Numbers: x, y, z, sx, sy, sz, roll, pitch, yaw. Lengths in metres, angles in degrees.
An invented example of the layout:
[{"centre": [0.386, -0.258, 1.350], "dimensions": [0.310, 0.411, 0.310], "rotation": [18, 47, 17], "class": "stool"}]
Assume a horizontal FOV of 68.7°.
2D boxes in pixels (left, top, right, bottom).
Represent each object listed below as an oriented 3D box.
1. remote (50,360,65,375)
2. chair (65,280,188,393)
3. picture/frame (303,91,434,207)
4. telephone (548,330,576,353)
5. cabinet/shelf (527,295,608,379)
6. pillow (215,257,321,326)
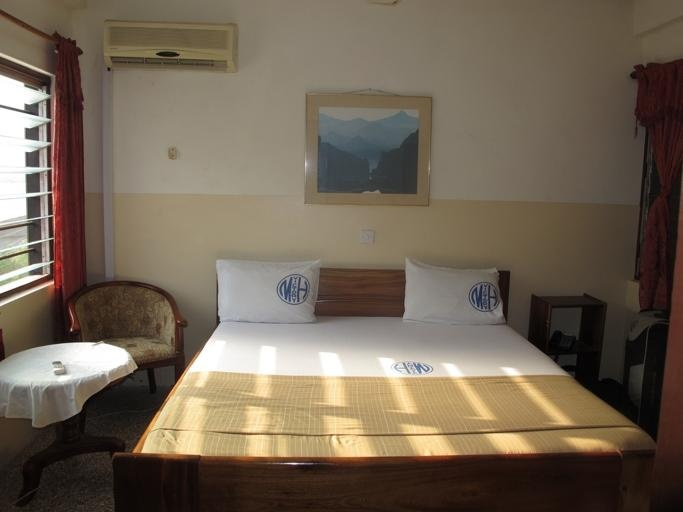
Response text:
[{"centre": [-1.651, 0.658, 2.891], "dimensions": [0.073, 0.073, 0.071], "rotation": [-1, 9, -27], "class": "remote"}, {"centre": [-1.684, 0.707, 3.884], "dimensions": [0.755, 0.980, 0.684], "rotation": [-3, 5, -35], "class": "chair"}, {"centre": [0.189, -0.932, 4.180], "dimensions": [0.829, 1.085, 0.039], "rotation": [3, 6, -8], "class": "picture/frame"}, {"centre": [1.837, 0.732, 4.174], "dimensions": [0.147, 0.146, 0.077], "rotation": [6, -15, 17], "class": "telephone"}, {"centre": [1.909, 0.744, 4.275], "dimensions": [0.477, 0.786, 0.428], "rotation": [-1, 9, 9], "class": "cabinet/shelf"}, {"centre": [-0.585, 0.280, 4.075], "dimensions": [0.849, 0.579, 0.221], "rotation": [3, -11, -16], "class": "pillow"}]
